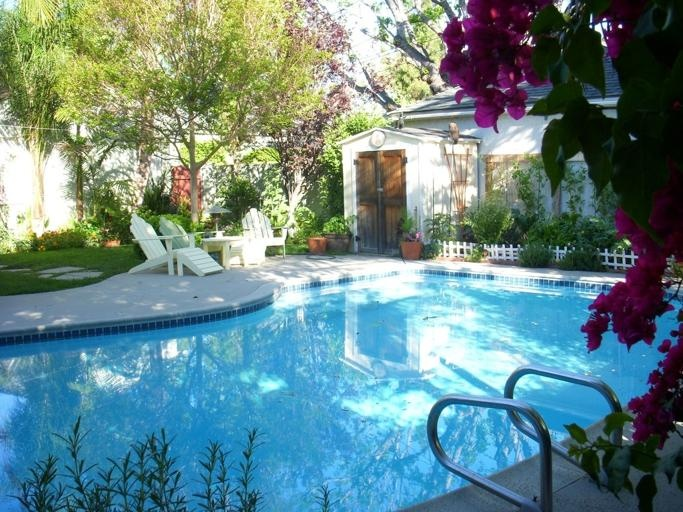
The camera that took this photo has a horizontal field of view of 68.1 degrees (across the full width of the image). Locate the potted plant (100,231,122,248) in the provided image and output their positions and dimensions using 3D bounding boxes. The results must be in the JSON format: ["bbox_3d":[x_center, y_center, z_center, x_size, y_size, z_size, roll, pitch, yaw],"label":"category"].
[{"bbox_3d":[-7.609,-0.592,16.903,0.664,0.801,0.526,1,-5,-45],"label":"potted plant"}]

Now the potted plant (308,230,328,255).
[{"bbox_3d":[-0.645,-0.327,14.316,0.447,0.416,0.495,1,2,22],"label":"potted plant"}]

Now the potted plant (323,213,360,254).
[{"bbox_3d":[0.009,-0.634,14.566,0.514,1.077,1.065,-6,9,-41],"label":"potted plant"}]
